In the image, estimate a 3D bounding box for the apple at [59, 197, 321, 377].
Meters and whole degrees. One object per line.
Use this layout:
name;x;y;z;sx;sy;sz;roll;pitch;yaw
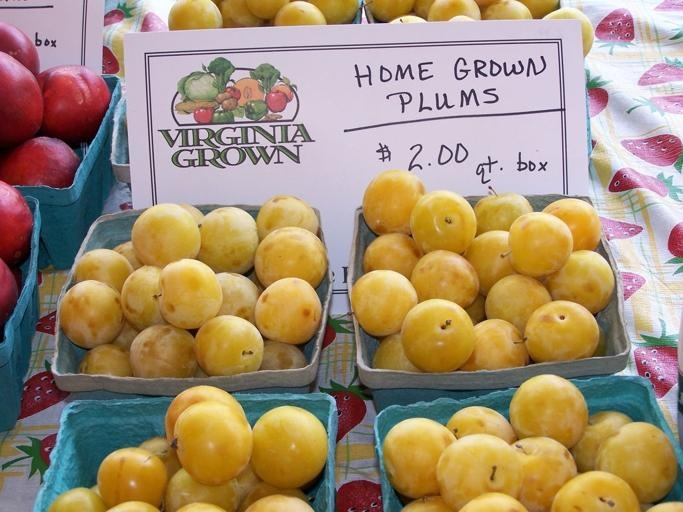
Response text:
apple;-0.237;0.057;1.055;0.292;0.161;0.348;-2;49;-9

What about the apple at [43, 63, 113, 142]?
apple;-0.592;-0.335;1.438;0.155;0.181;0.157;0;3;-41
